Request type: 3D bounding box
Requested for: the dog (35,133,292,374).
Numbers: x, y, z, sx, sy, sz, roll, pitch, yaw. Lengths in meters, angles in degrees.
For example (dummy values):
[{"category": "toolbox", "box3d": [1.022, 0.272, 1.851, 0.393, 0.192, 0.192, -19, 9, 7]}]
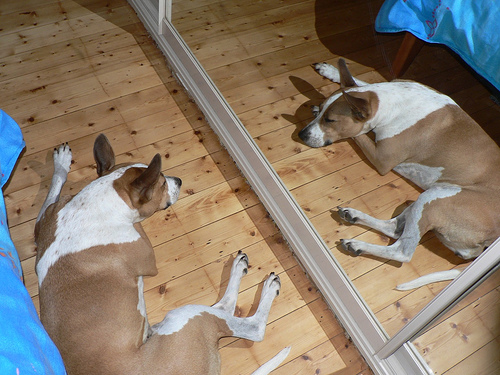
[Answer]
[{"category": "dog", "box3d": [-0.662, 0.503, 2.553, 1.199, 1.387, 1.238, -19, 41, -3]}]
